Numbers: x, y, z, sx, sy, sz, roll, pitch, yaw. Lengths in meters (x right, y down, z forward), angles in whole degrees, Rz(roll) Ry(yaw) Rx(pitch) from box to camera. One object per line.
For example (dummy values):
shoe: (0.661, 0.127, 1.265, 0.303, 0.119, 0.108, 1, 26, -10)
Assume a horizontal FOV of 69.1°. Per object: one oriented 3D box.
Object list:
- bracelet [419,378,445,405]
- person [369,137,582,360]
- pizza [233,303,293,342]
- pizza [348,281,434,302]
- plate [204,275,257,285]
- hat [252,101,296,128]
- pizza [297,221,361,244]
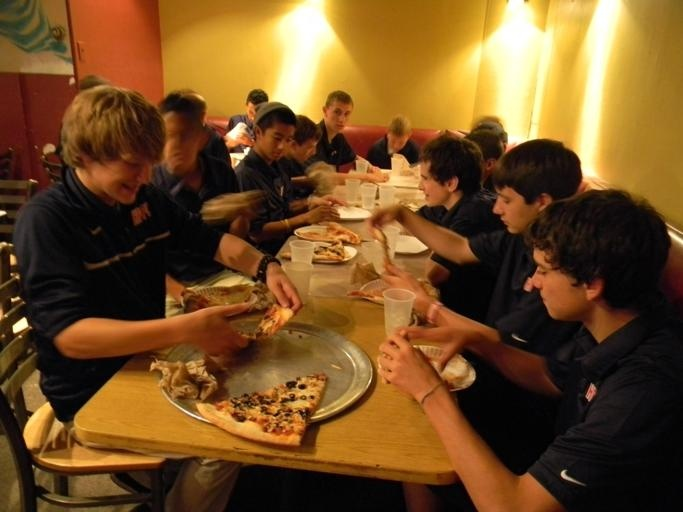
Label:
bracelet: (0.263, 0.406, 1.472, 0.016, 0.062, 0.065, 48, 20, 3)
person: (0.630, -0.023, 2.304, 0.972, 0.993, 0.689, 9, 22, 32)
pizza: (-0.249, 0.244, 1.818, 0.101, 0.047, 0.152, 23, 18, 2)
pizza: (0.177, 0.146, 2.156, 0.203, 0.038, 0.159, -9, 21, -32)
plate: (-0.621, 0.139, 2.789, 0.136, 0.036, 0.134, 5, 4, -36)
hat: (-0.454, -0.967, 3.308, 0.172, 0.120, 0.216, 9, 18, -30)
pizza: (-0.078, -0.131, 2.931, 0.259, 0.066, 0.178, 14, 24, 3)
